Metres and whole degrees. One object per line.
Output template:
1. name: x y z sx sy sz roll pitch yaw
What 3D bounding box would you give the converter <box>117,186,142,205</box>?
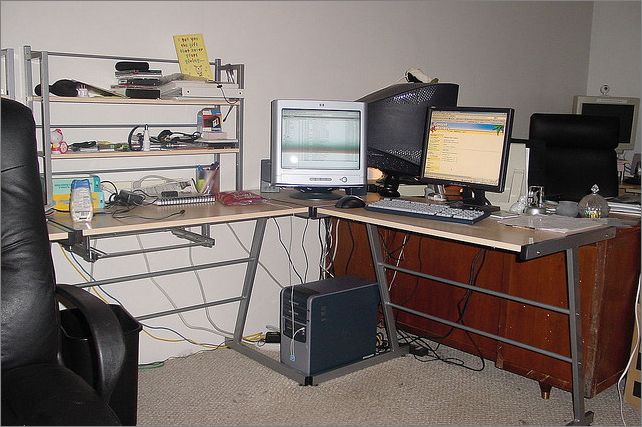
1. converter: -1.079 -0.102 2.633 0.109 0.035 0.107 -6 27 -45

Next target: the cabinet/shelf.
1. cabinet/shelf: -1.015 -0.703 2.816 1.244 0.697 0.267 -6 -7 -9

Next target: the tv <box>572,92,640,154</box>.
1. tv: 2.936 -0.927 4.781 0.687 0.575 0.343 3 15 14

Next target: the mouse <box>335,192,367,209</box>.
1. mouse: 0.170 -0.075 2.717 0.140 0.043 0.085 2 5 -32

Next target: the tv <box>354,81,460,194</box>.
1. tv: 0.545 -0.481 2.924 0.392 0.642 0.719 15 21 39

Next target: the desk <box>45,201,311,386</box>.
1. desk: -0.881 0.499 2.734 0.899 0.956 1.569 6 5 45

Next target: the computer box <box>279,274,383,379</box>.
1. computer box: 0.064 0.741 3.058 0.636 0.457 0.340 2 -1 -41

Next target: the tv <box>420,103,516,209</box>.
1. tv: 0.841 -0.325 2.653 0.344 0.607 0.622 -20 21 -41

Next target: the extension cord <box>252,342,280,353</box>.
1. extension cord: -0.368 0.932 3.231 0.131 0.027 0.076 1 1 18

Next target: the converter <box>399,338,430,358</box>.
1. converter: 0.669 0.934 3.224 0.121 0.027 0.115 -2 11 -29

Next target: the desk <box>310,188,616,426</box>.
1. desk: 0.801 0.554 2.571 1.297 1.106 0.615 9 18 34

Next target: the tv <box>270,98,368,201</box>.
1. tv: -0.088 -0.413 3.030 0.702 0.593 0.354 -4 7 -32
